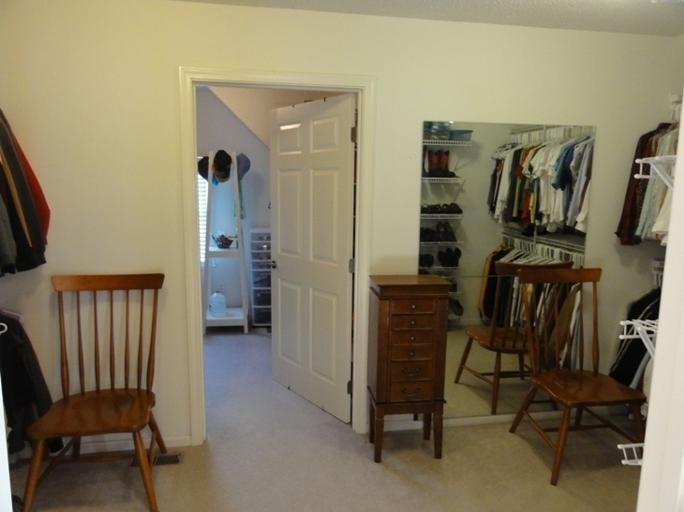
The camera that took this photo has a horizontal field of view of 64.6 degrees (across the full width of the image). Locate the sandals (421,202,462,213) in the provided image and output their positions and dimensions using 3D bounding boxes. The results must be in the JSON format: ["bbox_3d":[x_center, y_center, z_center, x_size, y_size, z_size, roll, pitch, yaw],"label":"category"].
[{"bbox_3d":[0.693,-0.318,3.694,0.156,0.052,0.116,3,1,-5],"label":"sandals"}]

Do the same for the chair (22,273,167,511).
[{"bbox_3d":[-1.444,0.774,3.215,0.780,1.299,0.702,-3,9,-15],"label":"chair"}]

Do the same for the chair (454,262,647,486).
[{"bbox_3d":[1.581,0.701,3.585,0.862,1.250,0.782,-3,9,-14],"label":"chair"}]

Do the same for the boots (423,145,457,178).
[{"bbox_3d":[0.639,-0.639,3.641,0.159,0.205,0.200,-3,5,-34],"label":"boots"}]

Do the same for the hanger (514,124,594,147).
[{"bbox_3d":[1.443,-0.832,3.810,0.598,0.223,0.188,-2,9,-5],"label":"hanger"}]

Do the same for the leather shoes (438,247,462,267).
[{"bbox_3d":[0.744,0.012,3.736,0.112,0.162,0.056,3,1,-8],"label":"leather shoes"}]

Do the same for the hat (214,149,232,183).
[{"bbox_3d":[-1.219,-0.898,5.468,0.232,0.278,0.391,0,-3,-17],"label":"hat"}]

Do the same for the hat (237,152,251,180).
[{"bbox_3d":[-1.029,-0.930,5.620,0.137,0.281,0.320,-2,9,-9],"label":"hat"}]

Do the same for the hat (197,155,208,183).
[{"bbox_3d":[-1.430,-0.901,5.543,0.128,0.218,0.062,2,9,16],"label":"hat"}]

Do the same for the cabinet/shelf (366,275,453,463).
[{"bbox_3d":[0.427,0.724,3.540,0.525,1.149,0.405,-1,9,2],"label":"cabinet/shelf"}]
